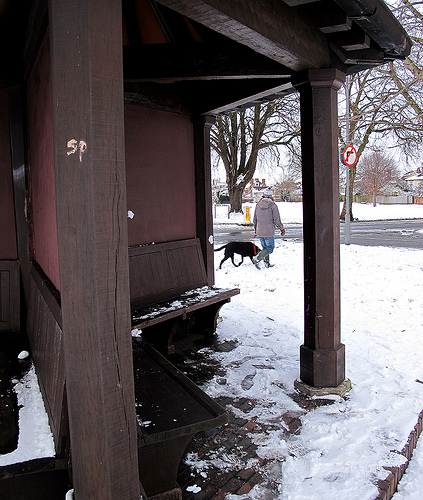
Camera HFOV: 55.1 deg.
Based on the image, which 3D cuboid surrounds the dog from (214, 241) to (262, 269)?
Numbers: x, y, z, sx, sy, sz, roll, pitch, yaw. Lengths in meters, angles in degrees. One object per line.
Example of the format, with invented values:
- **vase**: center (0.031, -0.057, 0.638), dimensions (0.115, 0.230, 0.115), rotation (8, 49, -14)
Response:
- **dog**: center (0.665, 0.075, 9.618), dimensions (0.846, 0.591, 1.678), rotation (-2, 4, 6)

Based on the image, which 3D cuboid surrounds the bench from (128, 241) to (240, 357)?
- **bench**: center (-0.407, 0.581, 4.319), dimensions (0.572, 1.240, 1.408), rotation (8, 11, 39)

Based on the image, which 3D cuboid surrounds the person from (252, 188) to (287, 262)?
- **person**: center (1.188, -0.514, 8.680), dimensions (0.610, 1.599, 1.094), rotation (-2, 3, -2)

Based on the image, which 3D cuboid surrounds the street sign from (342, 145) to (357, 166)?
- **street sign**: center (3.559, -2.447, 10.567), dimensions (0.274, 0.580, 1.048), rotation (0, 4, 24)
